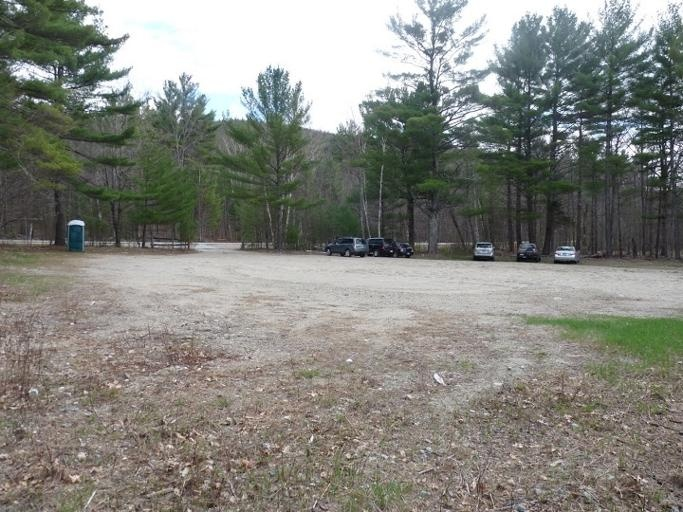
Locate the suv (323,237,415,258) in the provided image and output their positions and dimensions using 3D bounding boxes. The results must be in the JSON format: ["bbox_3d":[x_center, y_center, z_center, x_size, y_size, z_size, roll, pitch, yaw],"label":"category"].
[{"bbox_3d":[2.186,-0.638,44.071,5.745,1.742,3.779,-3,2,-14],"label":"suv"}]

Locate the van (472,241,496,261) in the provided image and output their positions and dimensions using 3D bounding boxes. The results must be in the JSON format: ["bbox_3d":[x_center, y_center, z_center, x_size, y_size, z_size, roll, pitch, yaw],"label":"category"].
[{"bbox_3d":[10.390,-0.330,41.956,1.059,1.007,2.074,2,8,18],"label":"van"}]
